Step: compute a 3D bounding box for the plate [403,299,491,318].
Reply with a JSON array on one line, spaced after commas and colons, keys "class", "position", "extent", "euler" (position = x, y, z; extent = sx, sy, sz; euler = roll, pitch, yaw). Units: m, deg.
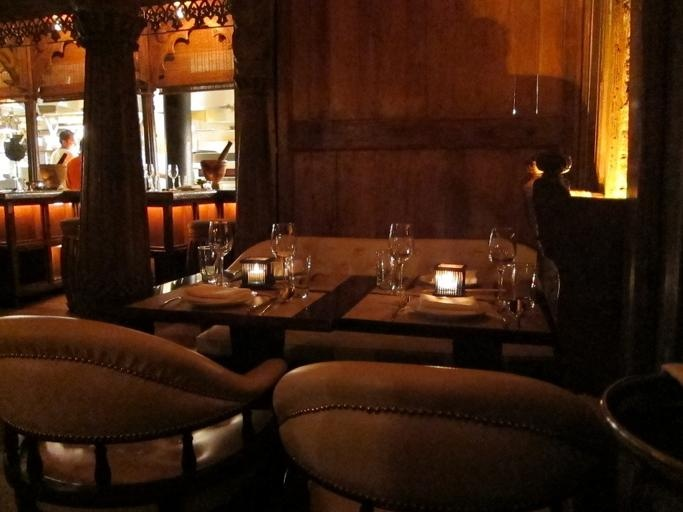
[{"class": "plate", "position": [0.364, 0.189, 2.175], "extent": [0.308, 0.063, 0.134], "euler": [1, 10, 23]}]

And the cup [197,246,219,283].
[{"class": "cup", "position": [-0.605, 0.040, 2.729], "extent": [0.095, 0.162, 0.102], "euler": [-1, 6, 0]}]

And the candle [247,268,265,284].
[{"class": "candle", "position": [-0.378, 0.085, 2.624], "extent": [0.064, 0.050, 0.065], "euler": [2, 0, -8]}]

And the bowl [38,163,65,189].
[{"class": "bowl", "position": [-2.938, -0.844, 6.114], "extent": [0.237, 0.284, 0.257], "euler": [5, 12, -1]}]
